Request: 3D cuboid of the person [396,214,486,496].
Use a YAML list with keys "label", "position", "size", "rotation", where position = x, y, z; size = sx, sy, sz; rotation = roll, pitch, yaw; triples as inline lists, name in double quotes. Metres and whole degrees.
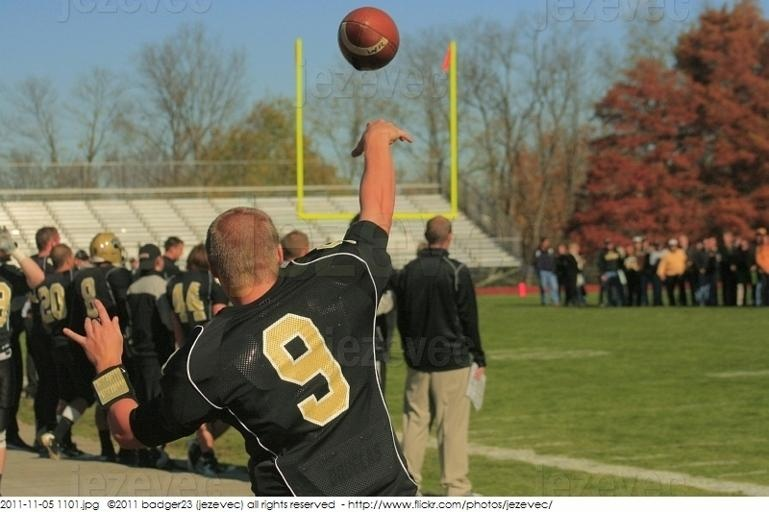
- label: "person"
  position: [0.647, 1.092, 15.689]
  size: [1.038, 2.992, 0.982]
  rotation: [-3, -8, 31]
